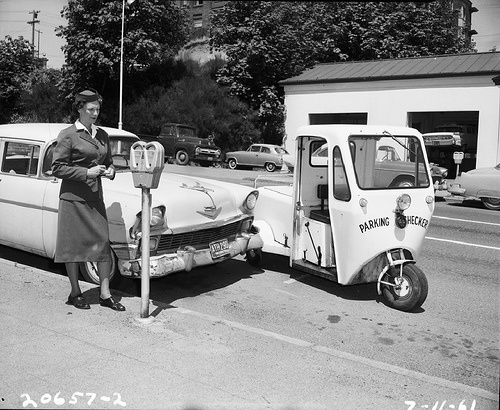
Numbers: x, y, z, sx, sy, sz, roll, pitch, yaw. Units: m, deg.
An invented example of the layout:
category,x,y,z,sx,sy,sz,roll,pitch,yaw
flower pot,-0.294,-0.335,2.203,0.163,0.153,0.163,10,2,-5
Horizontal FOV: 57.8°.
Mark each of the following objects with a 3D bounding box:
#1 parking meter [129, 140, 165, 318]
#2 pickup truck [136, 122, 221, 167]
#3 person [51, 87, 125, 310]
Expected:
category,x,y,z,sx,sy,sz,roll,pitch,yaw
parking meter,-1.050,0.252,4.645,0.213,1.833,0.504,1,1,-40
pickup truck,-4.353,-3.559,26.414,5.194,2.522,2.554,9,3,33
person,-1.765,-0.069,4.893,0.667,2.306,0.603,0,1,-29
